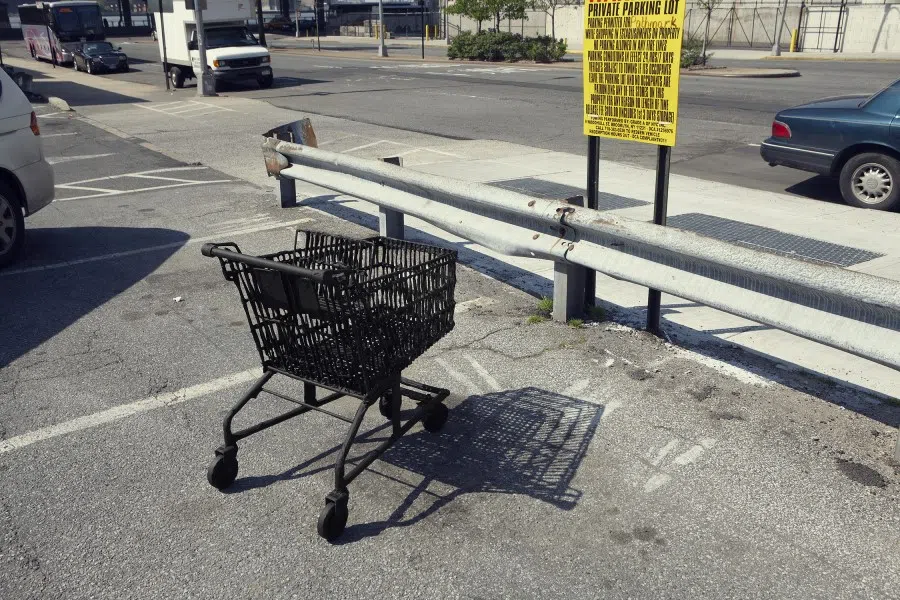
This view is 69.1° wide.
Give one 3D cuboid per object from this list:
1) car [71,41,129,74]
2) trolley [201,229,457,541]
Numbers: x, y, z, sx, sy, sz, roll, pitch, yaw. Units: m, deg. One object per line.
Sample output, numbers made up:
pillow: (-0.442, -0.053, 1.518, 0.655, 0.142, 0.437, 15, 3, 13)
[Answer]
car: (-20.221, -14.146, 37.889, 2.149, 1.587, 3.163, -17, 29, -30)
trolley: (-0.890, 0.389, 5.030, 1.565, 1.724, 1.911, 17, 31, 32)
